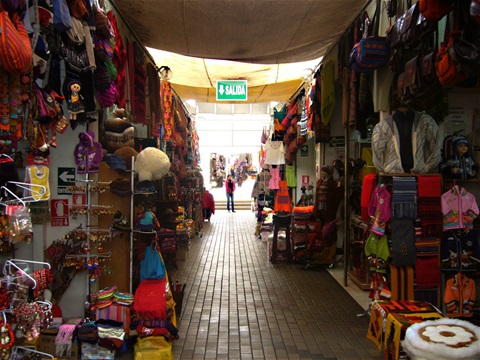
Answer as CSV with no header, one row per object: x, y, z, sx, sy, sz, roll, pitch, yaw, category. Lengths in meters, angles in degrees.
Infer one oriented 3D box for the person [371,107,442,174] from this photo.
2.031,-0.439,4.811,0.732,0.795,0.392,-4,-3,24,person

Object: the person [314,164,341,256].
1.657,0.499,7.310,0.455,1.501,0.432,0,3,4,person

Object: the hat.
-1.321,0.042,5.183,0.748,1.446,0.794,-1,5,-17,hat

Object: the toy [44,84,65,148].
-1.864,-0.619,3.986,0.216,0.558,0.712,-1,3,-27,toy

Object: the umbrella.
-1.968,1.039,4.385,0.426,0.723,0.341,0,3,-13,umbrella
